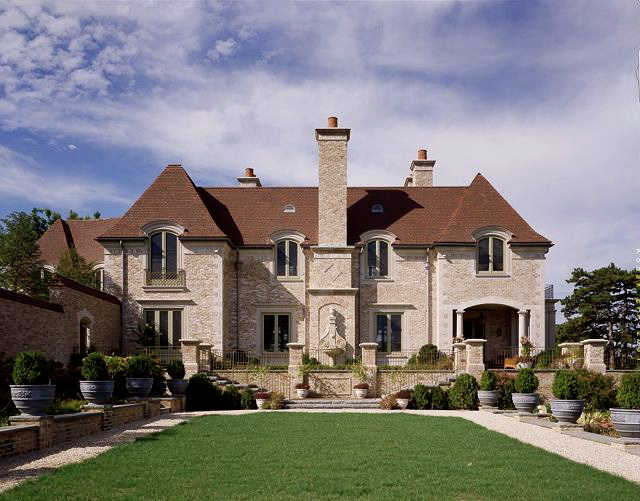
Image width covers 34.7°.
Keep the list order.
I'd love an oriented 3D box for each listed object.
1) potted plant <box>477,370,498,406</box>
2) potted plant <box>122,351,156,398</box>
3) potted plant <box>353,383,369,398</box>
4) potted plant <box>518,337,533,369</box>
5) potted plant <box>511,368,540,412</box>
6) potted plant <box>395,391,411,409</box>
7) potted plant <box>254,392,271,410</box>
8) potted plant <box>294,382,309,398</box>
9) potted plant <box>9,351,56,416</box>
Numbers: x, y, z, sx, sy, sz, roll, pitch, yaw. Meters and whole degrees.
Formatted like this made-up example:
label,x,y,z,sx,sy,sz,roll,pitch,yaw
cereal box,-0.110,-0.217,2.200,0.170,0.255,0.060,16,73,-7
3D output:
label,x,y,z,sx,sy,sz,roll,pitch,yaw
potted plant,6.632,5.433,40.421,0.783,1.446,0.870,-1,-10,8
potted plant,-6.934,4.744,38.669,1.630,1.582,1.633,0,-6,-13
potted plant,1.681,5.853,43.065,0.566,0.553,0.576,-5,-12,27
potted plant,9.215,4.462,45.716,0.600,1.626,3.280,-1,-11,12
potted plant,7.485,5.033,37.218,0.923,1.622,0.620,-2,-10,18
potted plant,3.376,5.994,41.476,0.762,0.703,0.315,5,-11,-23
potted plant,-2.334,6.002,41.260,0.693,0.670,0.533,-1,-10,10
potted plant,-0.768,5.816,42.952,0.598,0.590,0.571,1,-15,-4
potted plant,-8.641,4.101,31.472,1.672,2.411,1.761,-2,-5,2
